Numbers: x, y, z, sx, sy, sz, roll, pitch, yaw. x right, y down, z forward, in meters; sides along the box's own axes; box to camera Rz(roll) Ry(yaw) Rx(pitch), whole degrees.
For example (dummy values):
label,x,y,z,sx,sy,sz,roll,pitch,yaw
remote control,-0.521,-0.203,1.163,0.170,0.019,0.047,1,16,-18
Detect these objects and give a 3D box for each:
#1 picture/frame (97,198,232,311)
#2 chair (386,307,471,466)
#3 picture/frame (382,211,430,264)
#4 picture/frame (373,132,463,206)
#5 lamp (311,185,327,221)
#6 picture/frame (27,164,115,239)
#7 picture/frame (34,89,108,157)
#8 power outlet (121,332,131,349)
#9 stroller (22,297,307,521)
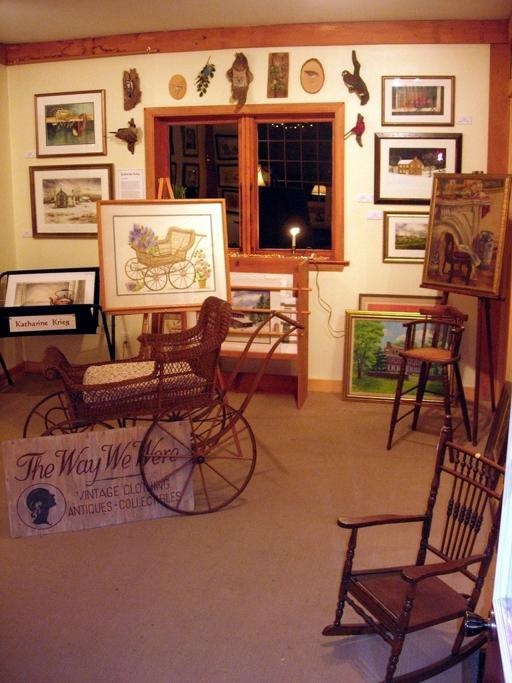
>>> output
label,x,y,z,sx,sy,sz,roll,pitch,yaw
picture/frame,-0.648,-0.599,3.729,0.821,0.692,0.082,-2,11,-3
chair,1.189,0.272,3.647,0.567,0.838,0.602,-4,10,-18
picture/frame,1.227,-0.860,4.383,0.486,0.476,0.037,2,11,0
picture/frame,1.284,-1.363,4.223,0.742,0.605,0.059,1,11,10
lamp,0.551,-1.207,4.692,0.132,0.288,0.055,2,15,6
picture/frame,-1.620,-1.268,4.816,0.948,0.733,0.041,4,15,14
picture/frame,-1.626,-1.960,4.830,0.624,0.507,0.026,4,15,16
power outlet,-1.218,-0.034,5.082,0.109,0.194,0.108,2,-3,-36
stroller,-0.502,0.390,3.041,1.476,1.011,0.873,-2,-5,-13
